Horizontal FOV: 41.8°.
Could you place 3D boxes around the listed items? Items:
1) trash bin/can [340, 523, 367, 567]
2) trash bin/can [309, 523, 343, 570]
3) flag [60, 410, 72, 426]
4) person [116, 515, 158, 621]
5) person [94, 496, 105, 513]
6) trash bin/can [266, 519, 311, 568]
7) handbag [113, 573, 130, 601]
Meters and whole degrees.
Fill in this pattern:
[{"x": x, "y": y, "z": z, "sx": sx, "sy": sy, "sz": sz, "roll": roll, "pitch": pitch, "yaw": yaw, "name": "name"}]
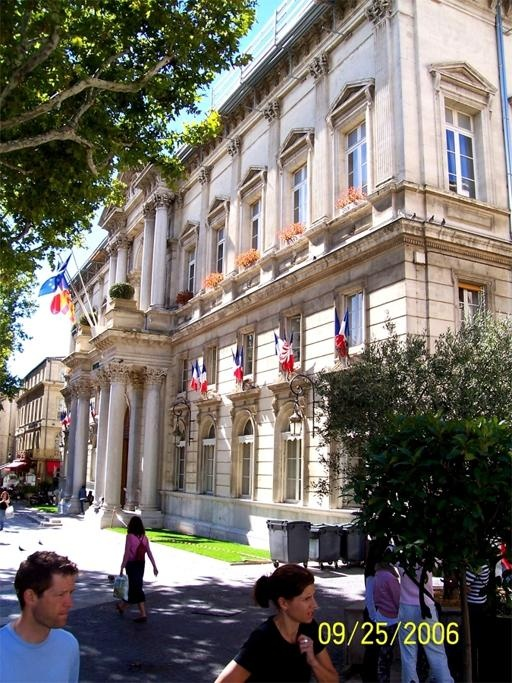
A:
[{"x": 2.330, "y": 4.898, "z": 16.237, "sx": 0.822, "sy": 0.876, "sz": 0.841, "roll": -9, "pitch": -19, "yaw": 38, "name": "trash bin/can"}, {"x": 1.523, "y": 4.866, "z": 15.988, "sx": 0.909, "sy": 0.927, "sz": 0.898, "roll": -9, "pitch": -16, "yaw": 37, "name": "trash bin/can"}, {"x": -11.874, "y": 4.802, "z": 41.983, "sx": 0.358, "sy": 1.263, "sz": 3.247, "roll": 7, "pitch": -16, "yaw": -18, "name": "flag"}, {"x": -1.917, "y": 3.643, "z": 10.996, "sx": 0.603, "sy": 1.508, "sz": 2.055, "roll": 4, "pitch": -15, "yaw": -8, "name": "person"}, {"x": -6.740, "y": 7.091, "z": 29.282, "sx": 0.257, "sy": 0.807, "sz": 0.832, "roll": -10, "pitch": -22, "yaw": 15, "name": "person"}, {"x": 0.778, "y": 4.743, "z": 15.792, "sx": 0.820, "sy": 1.024, "sz": 0.937, "roll": 8, "pitch": -15, "yaw": -29, "name": "trash bin/can"}, {"x": -2.024, "y": 3.706, "z": 10.060, "sx": 0.233, "sy": 0.404, "sz": 0.428, "roll": 4, "pitch": -16, "yaw": -10, "name": "handbag"}]
